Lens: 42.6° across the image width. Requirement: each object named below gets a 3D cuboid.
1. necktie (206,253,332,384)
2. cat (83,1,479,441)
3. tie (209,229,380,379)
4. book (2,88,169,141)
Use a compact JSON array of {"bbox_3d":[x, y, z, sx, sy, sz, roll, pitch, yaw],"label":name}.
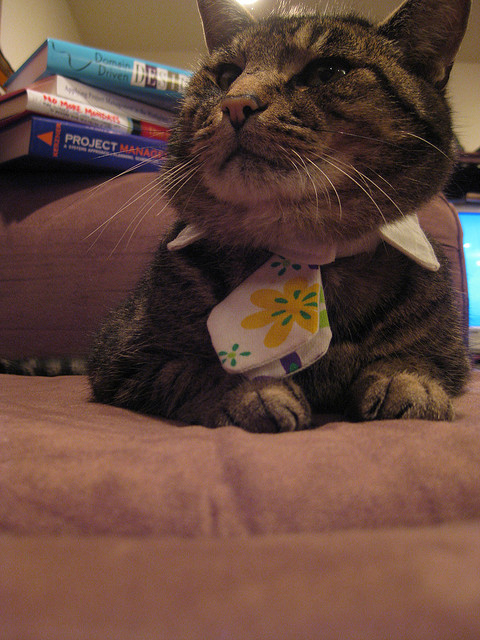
[{"bbox_3d":[0.052,0.007,0.662,0.139,0.032,0.128,-40,52,-13],"label":"necktie"},{"bbox_3d":[0.097,-0.088,0.903,0.481,0.352,0.540,-2,-9,14],"label":"cat"},{"bbox_3d":[0.067,-0.041,0.704,0.184,0.064,0.263,-4,50,26],"label":"tie"},{"bbox_3d":[-0.304,-0.399,1.233,0.246,0.031,0.193,4,-1,-36],"label":"book"}]
